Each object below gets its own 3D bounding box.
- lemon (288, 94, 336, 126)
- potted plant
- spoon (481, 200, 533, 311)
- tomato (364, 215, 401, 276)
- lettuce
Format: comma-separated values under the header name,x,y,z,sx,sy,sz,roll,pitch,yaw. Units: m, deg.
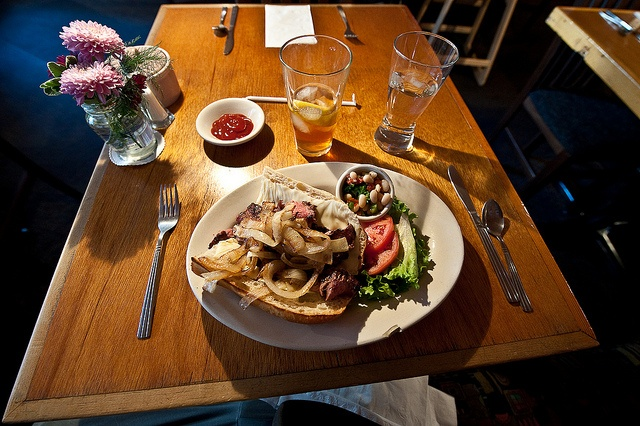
name,x,y,z,sx,sy,sz,roll,pitch,yaw
lemon,-0.041,-0.571,2.464,0.160,0.065,0.213,-38,72,-9
potted plant,-0.985,-0.826,2.618,0.322,0.345,0.359,-3,62,-5
spoon,0.964,0.210,2.195,0.138,0.090,0.784,-8,33,19
tomato,0.327,0.179,2.299,0.229,0.068,0.275,-4,68,19
lettuce,0.434,0.217,2.268,0.395,0.103,0.479,5,76,13
